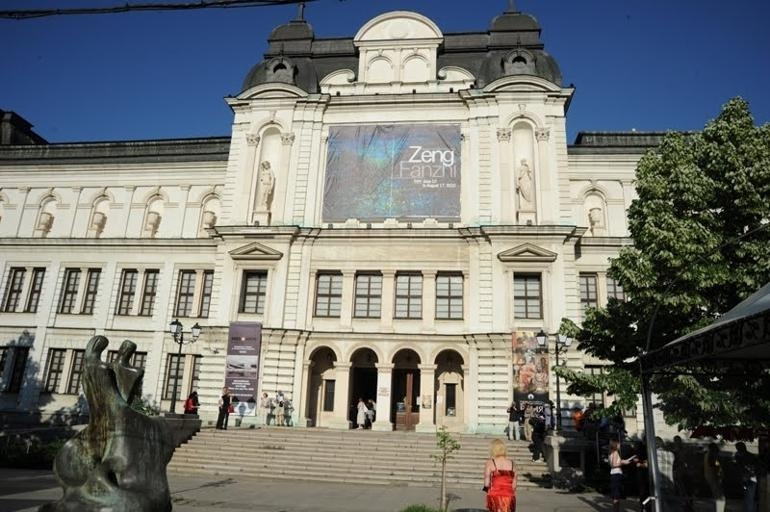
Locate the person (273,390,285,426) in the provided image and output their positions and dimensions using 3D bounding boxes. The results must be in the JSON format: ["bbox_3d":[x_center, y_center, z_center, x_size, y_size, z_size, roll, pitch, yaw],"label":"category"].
[{"bbox_3d":[-6.170,8.884,35.308,0.662,1.894,0.705,8,-14,-23],"label":"person"}]

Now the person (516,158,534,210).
[{"bbox_3d":[8.703,-4.412,37.308,1.131,3.455,0.466,3,-13,-2],"label":"person"}]

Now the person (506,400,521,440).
[{"bbox_3d":[6.999,8.875,32.678,0.609,1.993,1.142,0,-13,11],"label":"person"}]

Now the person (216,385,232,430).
[{"bbox_3d":[-8.854,8.305,32.874,0.611,2.160,1.396,6,-13,-14],"label":"person"}]

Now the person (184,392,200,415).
[{"bbox_3d":[-10.781,8.123,33.388,0.697,1.161,3.159,7,-14,-17],"label":"person"}]
